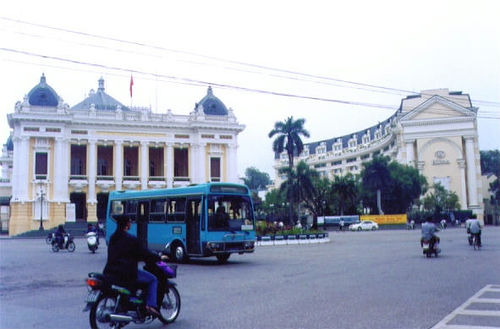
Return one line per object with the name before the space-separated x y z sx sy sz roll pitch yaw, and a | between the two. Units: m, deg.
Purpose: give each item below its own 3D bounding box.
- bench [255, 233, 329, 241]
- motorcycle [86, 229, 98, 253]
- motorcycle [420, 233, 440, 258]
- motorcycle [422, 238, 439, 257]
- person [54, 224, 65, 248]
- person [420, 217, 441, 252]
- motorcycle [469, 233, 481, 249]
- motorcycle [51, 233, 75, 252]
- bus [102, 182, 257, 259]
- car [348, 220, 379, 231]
bench | 3.149 5.664 45.973 6.715 0.459 2.211 4 -10 -34
motorcycle | -10.307 4.962 37.890 0.595 1.477 0.942 -1 -7 -9
motorcycle | 9.892 4.376 31.601 0.699 1.249 1.225 -8 -10 43
motorcycle | 9.765 4.426 31.375 0.774 1.006 0.373 1 -7 -18
person | -12.977 4.814 39.458 0.619 1.575 1.117 -1 -7 -5
person | 9.942 3.671 32.027 0.985 1.216 1.796 -1 -6 23
motorcycle | 13.894 4.669 35.548 0.554 0.747 1.186 0 -20 5
motorcycle | -12.898 5.363 39.861 1.768 1.253 0.883 1 -4 -25
bus | -4.531 3.488 34.335 3.814 4.416 10.664 6 -9 -44
car | 15.058 8.054 76.331 2.989 1.374 1.482 2 -7 1
